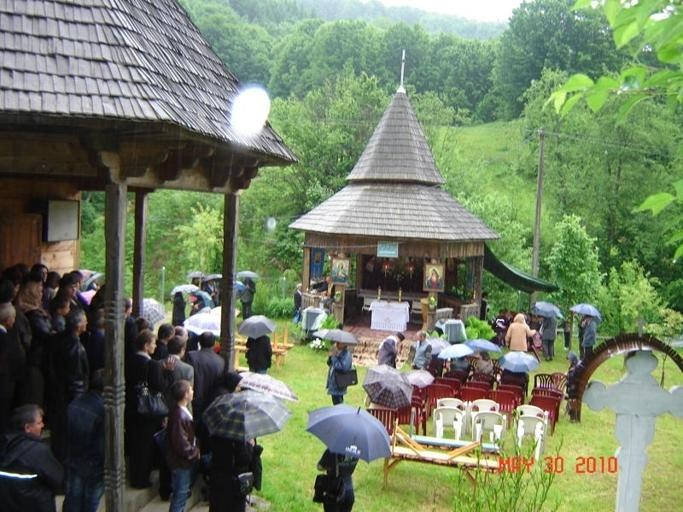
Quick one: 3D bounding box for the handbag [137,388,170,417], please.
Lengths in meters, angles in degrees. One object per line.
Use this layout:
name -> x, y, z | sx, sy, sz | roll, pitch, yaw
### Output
handbag -> -2.775, 2.138, 10.662 | 0.350, 0.455, 0.159 | 2, -2, -12

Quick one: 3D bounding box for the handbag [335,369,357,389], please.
handbag -> 0.081, 2.451, 14.653 | 0.468, 0.434, 0.150 | 0, 1, -10

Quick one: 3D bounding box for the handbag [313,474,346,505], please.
handbag -> -0.157, 3.457, 10.801 | 0.354, 0.439, 0.173 | 0, -16, 4

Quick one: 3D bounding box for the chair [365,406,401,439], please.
chair -> 0.823, 3.237, 14.240 | 0.523, 1.031, 0.647 | 0, -6, -1

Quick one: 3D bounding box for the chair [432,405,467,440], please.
chair -> 2.164, 3.524, 14.972 | 0.558, 0.979, 0.657 | 1, 6, 17

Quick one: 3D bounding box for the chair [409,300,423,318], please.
chair -> 2.789, 1.931, 26.754 | 0.381, 0.892, 0.538 | 2, -3, -2

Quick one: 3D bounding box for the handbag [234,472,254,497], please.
handbag -> -1.404, 3.246, 10.405 | 0.324, 0.472, 0.199 | 4, -7, -43

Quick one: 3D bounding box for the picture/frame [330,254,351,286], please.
picture/frame -> -0.037, 0.446, 23.847 | 0.805, 1.465, 0.141 | 0, -13, 0

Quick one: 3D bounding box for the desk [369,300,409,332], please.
desk -> 1.621, 2.021, 24.268 | 0.882, 0.649, 1.014 | 4, 17, 9
